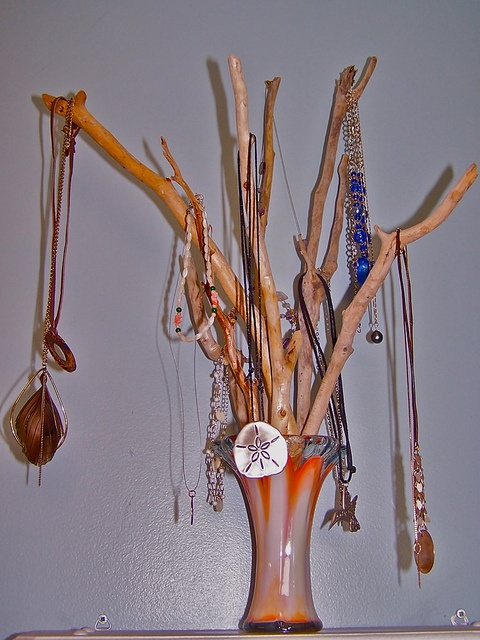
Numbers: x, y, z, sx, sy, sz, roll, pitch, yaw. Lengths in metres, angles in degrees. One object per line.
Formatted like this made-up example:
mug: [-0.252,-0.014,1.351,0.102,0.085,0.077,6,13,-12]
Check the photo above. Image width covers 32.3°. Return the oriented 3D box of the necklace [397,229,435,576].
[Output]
necklace: [0.270,0.115,1.287,0.049,0.545,0.287,-1,-11,11]

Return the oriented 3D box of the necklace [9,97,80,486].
necklace: [-0.310,-0.076,1.351,0.104,0.679,0.248,3,-10,-12]

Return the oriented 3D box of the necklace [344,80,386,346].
necklace: [0.212,-0.193,1.446,0.069,0.480,0.149,0,-10,8]

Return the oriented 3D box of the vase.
vase: [0.046,0.306,1.173,0.176,0.324,0.213,5,-20,-17]
